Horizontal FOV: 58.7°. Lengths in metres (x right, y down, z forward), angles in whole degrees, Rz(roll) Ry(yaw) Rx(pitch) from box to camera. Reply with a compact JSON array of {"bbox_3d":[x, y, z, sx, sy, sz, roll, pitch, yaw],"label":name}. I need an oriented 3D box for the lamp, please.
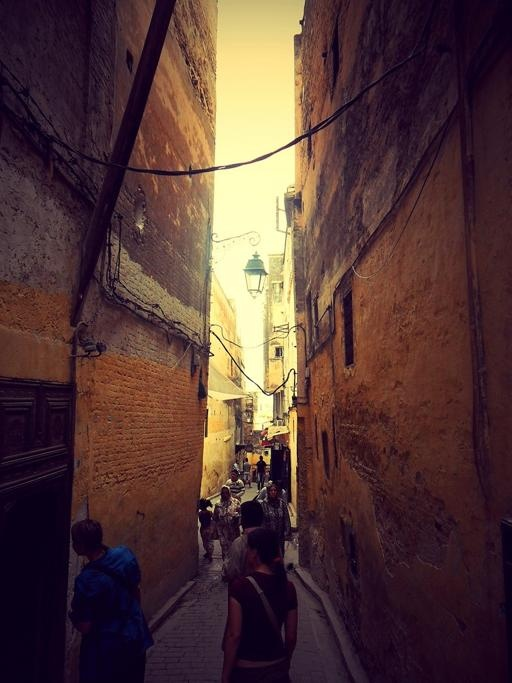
[{"bbox_3d":[-0.326,-1.479,8.884,0.866,2.053,0.505,-2,-35,-2],"label":"lamp"}]
